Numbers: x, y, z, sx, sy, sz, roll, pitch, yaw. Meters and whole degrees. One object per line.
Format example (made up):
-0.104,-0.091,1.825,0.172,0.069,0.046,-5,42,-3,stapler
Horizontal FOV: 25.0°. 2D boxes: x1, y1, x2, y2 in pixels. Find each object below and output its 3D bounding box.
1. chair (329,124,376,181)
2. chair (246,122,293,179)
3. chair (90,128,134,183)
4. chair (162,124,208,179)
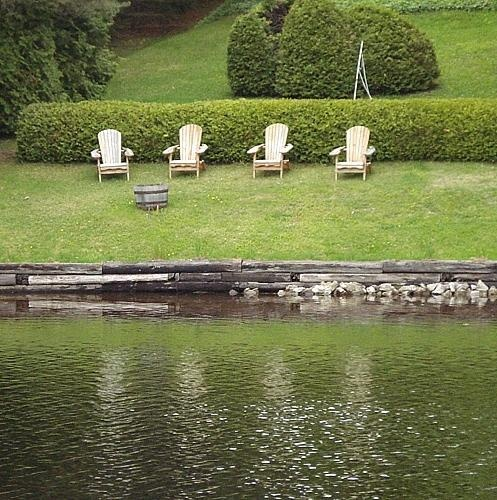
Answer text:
1.758,-1.637,18.777,0.882,0.844,0.999,2,26,14,chair
0.409,-1.672,19.143,0.731,0.709,0.873,3,25,18,chair
-2.300,-1.647,19.383,0.930,0.820,0.966,-3,28,-9,chair
-1.006,-1.670,19.363,0.709,0.692,0.817,2,25,9,chair
